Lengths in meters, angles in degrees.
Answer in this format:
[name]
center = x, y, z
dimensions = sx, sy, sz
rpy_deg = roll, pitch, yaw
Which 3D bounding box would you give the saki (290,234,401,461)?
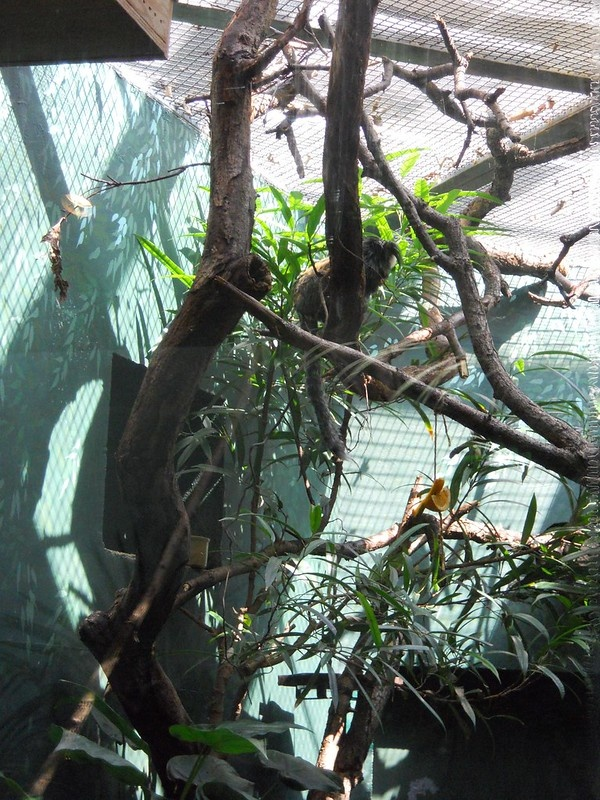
[saki]
center = 0.102, -0.130, 1.829
dimensions = 0.148, 0.513, 0.293
rpy_deg = -13, 17, -40
